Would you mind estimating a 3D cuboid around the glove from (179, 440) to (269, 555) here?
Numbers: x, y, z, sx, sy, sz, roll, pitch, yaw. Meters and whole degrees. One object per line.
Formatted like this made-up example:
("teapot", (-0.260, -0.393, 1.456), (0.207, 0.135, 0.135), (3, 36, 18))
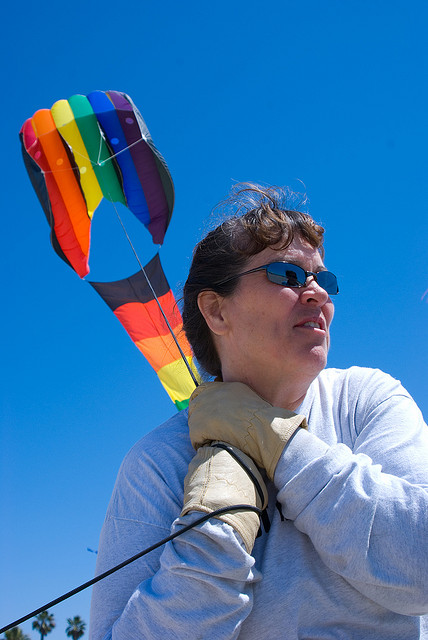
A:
("glove", (0.038, 0.539, 2.043), (0.165, 0.286, 0.220), (-18, -68, 22))
